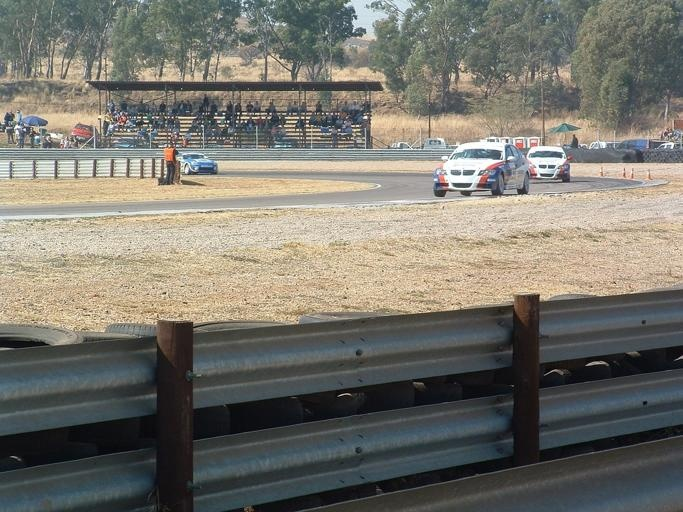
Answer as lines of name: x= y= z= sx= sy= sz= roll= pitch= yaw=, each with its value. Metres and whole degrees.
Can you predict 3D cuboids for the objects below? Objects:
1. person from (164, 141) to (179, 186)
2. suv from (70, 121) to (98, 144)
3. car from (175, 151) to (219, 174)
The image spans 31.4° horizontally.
person: x=-5.400 y=-2.814 z=38.241 sx=0.367 sy=1.257 sz=1.770 roll=-1 pitch=9 yaw=-8
suv: x=-14.912 y=-7.160 z=70.111 sx=1.549 sy=1.049 sz=2.087 roll=6 pitch=-5 yaw=-9
car: x=-5.802 y=-3.544 z=47.559 sx=1.214 sy=0.789 sz=1.530 roll=9 pitch=12 yaw=43
